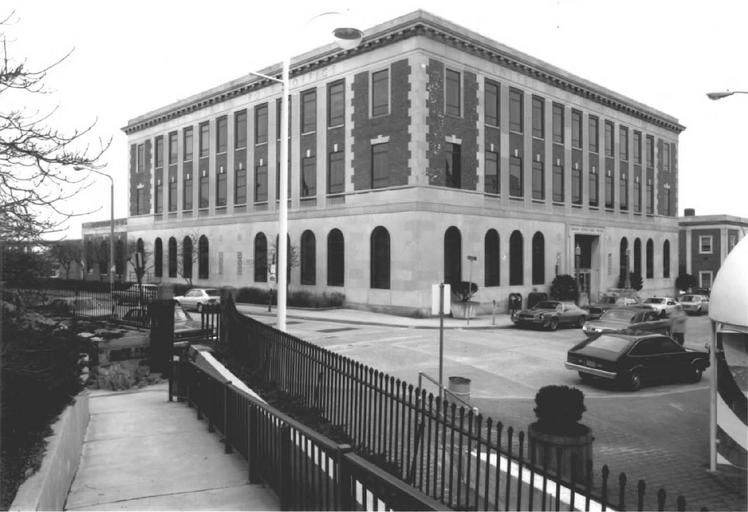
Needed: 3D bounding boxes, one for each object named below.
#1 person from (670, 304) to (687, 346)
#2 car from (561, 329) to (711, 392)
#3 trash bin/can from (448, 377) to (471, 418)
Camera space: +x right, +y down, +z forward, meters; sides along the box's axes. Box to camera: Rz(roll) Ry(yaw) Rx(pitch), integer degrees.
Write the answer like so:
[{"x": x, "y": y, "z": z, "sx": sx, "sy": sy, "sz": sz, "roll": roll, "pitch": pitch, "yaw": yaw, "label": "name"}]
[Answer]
[{"x": 13.716, "y": 3.104, "z": 31.914, "sx": 0.415, "sy": 1.397, "sz": 0.871, "roll": 7, "pitch": -2, "yaw": -3, "label": "person"}, {"x": 9.001, "y": 3.387, "z": 23.952, "sx": 4.110, "sy": 1.520, "sz": 2.143, "roll": -3, "pitch": 2, "yaw": -29, "label": "car"}, {"x": 2.462, "y": 4.025, "z": 20.397, "sx": 0.713, "sy": 1.177, "sz": 0.706, "roll": -6, "pitch": 11, "yaw": -34, "label": "trash bin/can"}]
